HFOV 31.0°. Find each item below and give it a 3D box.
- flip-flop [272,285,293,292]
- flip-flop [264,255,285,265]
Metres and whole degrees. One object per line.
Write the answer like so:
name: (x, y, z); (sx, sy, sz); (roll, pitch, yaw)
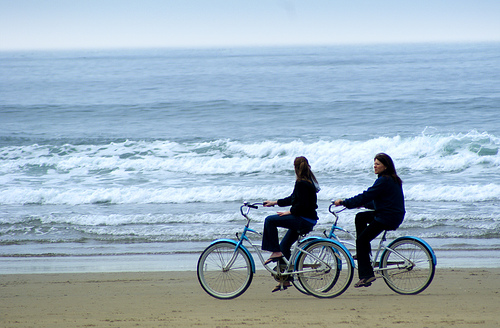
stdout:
flip-flop: (1.358, 5.428, 39.707); (0.946, 0.149, 0.231); (-16, -2, 1)
flip-flop: (1.055, 4.189, 39.611); (0.828, 0.141, 0.238); (-17, 0, -1)
